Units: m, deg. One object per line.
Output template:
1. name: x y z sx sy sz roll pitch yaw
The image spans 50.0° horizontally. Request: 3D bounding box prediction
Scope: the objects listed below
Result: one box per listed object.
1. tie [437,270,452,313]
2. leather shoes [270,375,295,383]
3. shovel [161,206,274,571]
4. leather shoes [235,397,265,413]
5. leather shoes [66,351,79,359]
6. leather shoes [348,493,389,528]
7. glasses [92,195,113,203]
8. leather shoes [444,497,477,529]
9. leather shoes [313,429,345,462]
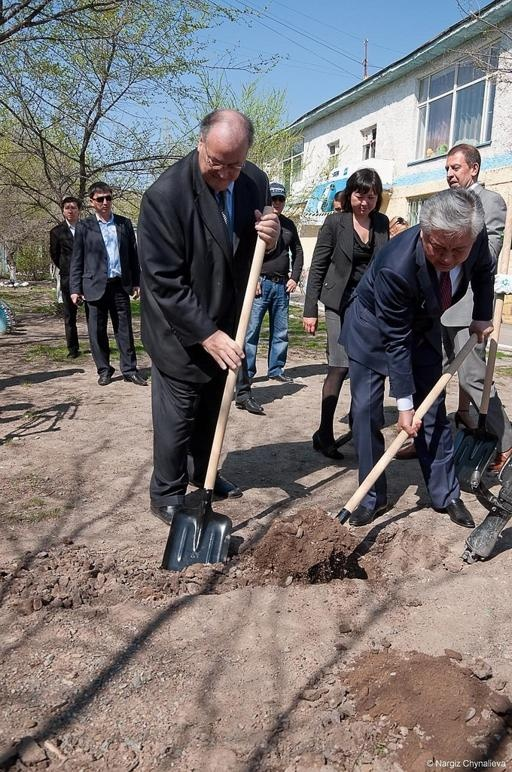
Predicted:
1. tie: 0.941 -0.465 2.726 0.047 0.191 0.264 6 11 22
2. leather shoes: 0.298 -0.071 6.531 0.290 0.122 0.112 0 5 18
3. shovel: -0.198 0.055 2.694 0.441 1.523 0.764 1 11 0
4. leather shoes: -0.069 0.164 5.252 0.325 0.150 0.122 16 14 38
5. leather shoes: -2.474 -0.406 7.413 0.066 0.138 0.261 2 -2 -8
6. leather shoes: 0.649 0.710 3.137 0.287 0.114 0.100 -25 5 -29
7. glasses: -1.690 -2.039 6.000 0.179 0.106 0.100 -1 11 -15
8. leather shoes: 1.122 0.709 3.039 0.079 0.087 0.217 -5 8 -6
9. leather shoes: 0.609 0.467 4.213 0.123 0.151 0.353 -6 12 -35
